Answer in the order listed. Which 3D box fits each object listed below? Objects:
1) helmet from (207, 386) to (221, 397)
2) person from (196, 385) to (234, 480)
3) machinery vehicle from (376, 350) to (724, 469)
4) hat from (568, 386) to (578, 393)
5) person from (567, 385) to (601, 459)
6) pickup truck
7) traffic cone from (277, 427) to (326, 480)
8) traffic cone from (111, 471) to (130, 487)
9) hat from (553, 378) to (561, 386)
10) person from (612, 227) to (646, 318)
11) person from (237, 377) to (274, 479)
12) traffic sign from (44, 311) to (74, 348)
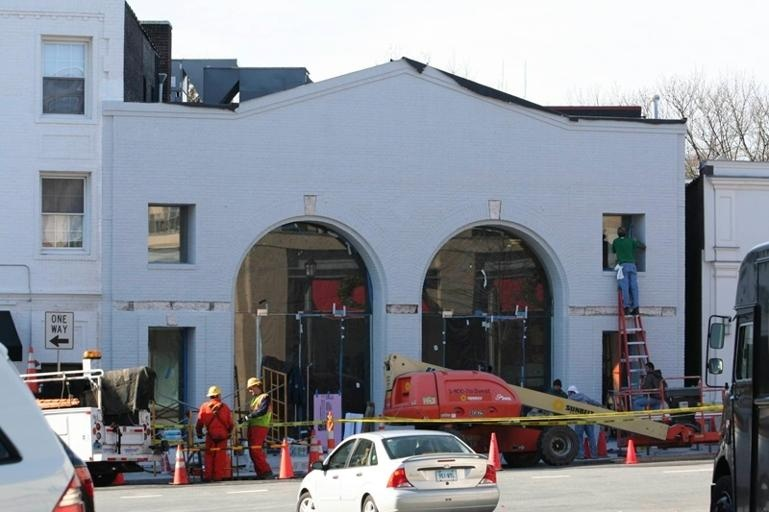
[{"bbox_3d":[-4.995,4.045,59.041,0.382,0.268,0.545,-2,-5,-5],"label":"helmet"},{"bbox_3d":[-5.022,5.274,58.923,1.163,2.719,0.902,5,-5,-19],"label":"person"},{"bbox_3d":[5.694,4.975,62.458,11.527,3.877,3.608,-1,-2,-19],"label":"machinery vehicle"},{"bbox_3d":[5.971,4.270,63.562,0.207,0.230,0.282,4,-7,-26],"label":"hat"},{"bbox_3d":[6.286,5.256,62.664,1.009,2.205,0.876,-5,1,-24],"label":"person"},{"bbox_3d":[-8.413,5.121,57.308,5.150,3.547,3.290,0,-3,6],"label":"pickup truck"},{"bbox_3d":[-2.473,6.035,59.193,0.791,1.189,1.364,-2,0,6],"label":"traffic cone"},{"bbox_3d":[-7.719,6.596,58.510,0.347,0.383,0.368,3,-13,-1],"label":"traffic cone"},{"bbox_3d":[5.423,4.030,62.863,0.185,0.212,0.261,1,-13,4],"label":"hat"},{"bbox_3d":[7.972,0.489,65.818,1.001,3.030,0.808,4,-16,-27],"label":"person"},{"bbox_3d":[-3.813,5.112,59.213,0.937,3.053,1.057,0,-5,-20],"label":"person"},{"bbox_3d":[-9.608,2.215,59.285,1.101,1.474,0.104,0,3,-4],"label":"traffic sign"}]
